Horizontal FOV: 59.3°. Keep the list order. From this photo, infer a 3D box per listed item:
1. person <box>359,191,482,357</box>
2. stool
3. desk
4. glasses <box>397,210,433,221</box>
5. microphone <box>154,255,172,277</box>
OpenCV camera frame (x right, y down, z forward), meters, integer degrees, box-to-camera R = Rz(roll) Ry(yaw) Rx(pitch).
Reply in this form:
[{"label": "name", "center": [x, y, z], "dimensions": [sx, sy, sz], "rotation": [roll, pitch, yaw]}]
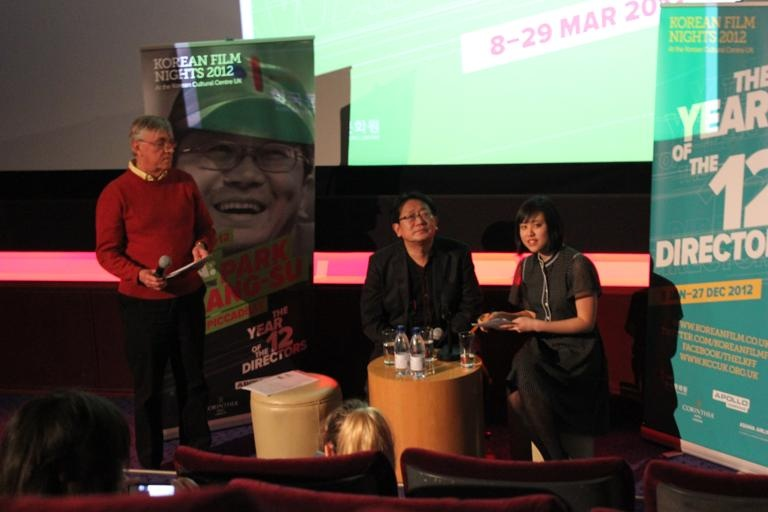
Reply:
[{"label": "person", "center": [0.268, 0.171, 4.600], "dimensions": [0.845, 1.167, 0.749], "rotation": [-4, 8, -16]}, {"label": "stool", "center": [-0.605, 1.129, 4.639], "dimensions": [0.618, 0.569, 0.609], "rotation": [-2, 11, -15]}, {"label": "desk", "center": [0.262, 0.964, 4.157], "dimensions": [0.676, 0.627, 0.686], "rotation": [0, -2, 2]}, {"label": "glasses", "center": [0.210, -0.272, 4.517], "dimensions": [0.246, 0.095, 0.091], "rotation": [-3, 7, -5]}, {"label": "microphone", "center": [-1.421, 0.062, 4.365], "dimensions": [0.099, 0.138, 0.189], "rotation": [-5, 7, -18]}]
